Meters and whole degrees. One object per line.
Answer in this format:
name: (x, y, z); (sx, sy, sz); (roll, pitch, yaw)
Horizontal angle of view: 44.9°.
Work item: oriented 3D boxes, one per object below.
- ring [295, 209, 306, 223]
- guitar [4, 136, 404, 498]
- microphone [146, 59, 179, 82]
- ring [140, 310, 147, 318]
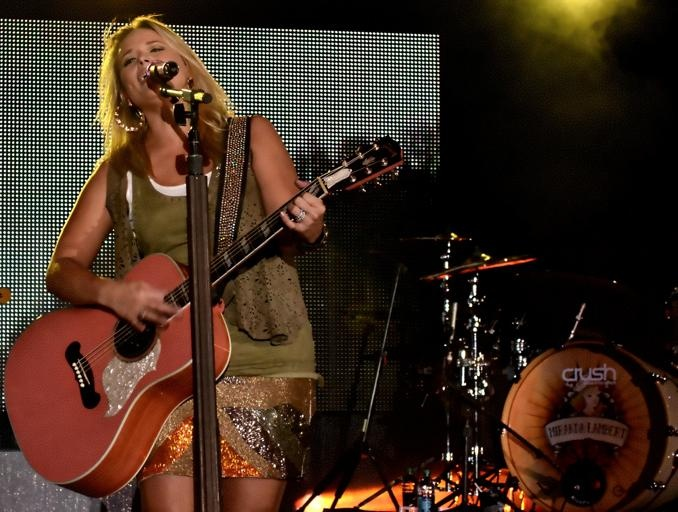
ring: (-0.145, -0.147, 3.133); (0.032, 0.024, 0.041); (-3, 70, 1)
guitar: (-0.353, 0.253, 3.602); (2.182, 0.302, 0.944); (-40, 66, 6)
microphone: (-0.657, -0.680, 3.047); (0.149, 0.076, 0.077); (2, 33, 35)
ring: (-0.768, 0.237, 3.250); (0.027, 0.028, 0.027); (-1, 69, 1)
